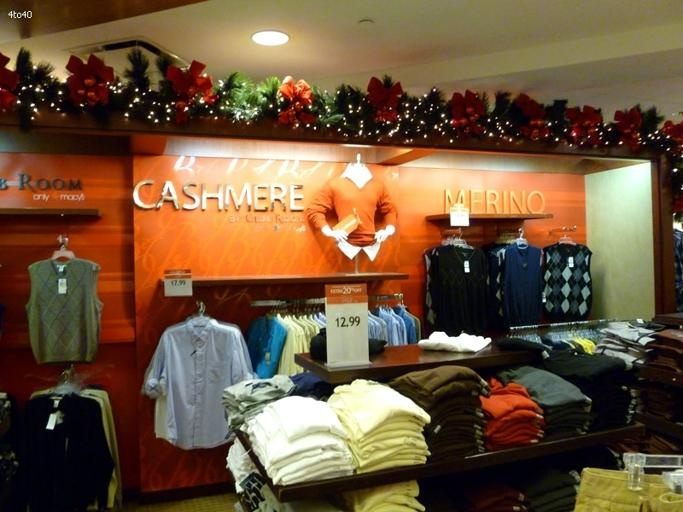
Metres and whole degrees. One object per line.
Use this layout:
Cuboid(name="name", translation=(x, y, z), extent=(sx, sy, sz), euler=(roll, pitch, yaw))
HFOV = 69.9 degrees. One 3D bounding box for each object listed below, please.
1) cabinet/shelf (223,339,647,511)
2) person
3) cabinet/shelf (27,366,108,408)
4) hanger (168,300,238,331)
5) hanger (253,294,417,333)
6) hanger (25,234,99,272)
Cuboid(name="cabinet/shelf", translation=(0.546, 0.953, 2.870), extent=(2.206, 0.539, 0.770), euler=(-2, -2, -23))
Cuboid(name="person", translation=(0.057, -0.419, 4.671), extent=(0.895, 1.194, 0.377), euler=(-3, 4, -27))
Cuboid(name="cabinet/shelf", translation=(-2.159, 1.069, 3.953), extent=(0.376, 0.168, 0.505), euler=(2, -4, -30))
Cuboid(name="hanger", translation=(-1.170, 0.509, 4.277), extent=(0.445, 0.243, 0.258), euler=(-2, -2, -20))
Cuboid(name="hanger", translation=(-0.091, 0.508, 4.687), extent=(1.510, 0.274, 0.356), euler=(-3, -2, -8))
Cuboid(name="hanger", translation=(-2.323, -0.028, 4.101), extent=(0.503, 0.330, 0.289), euler=(-2, -2, -23))
